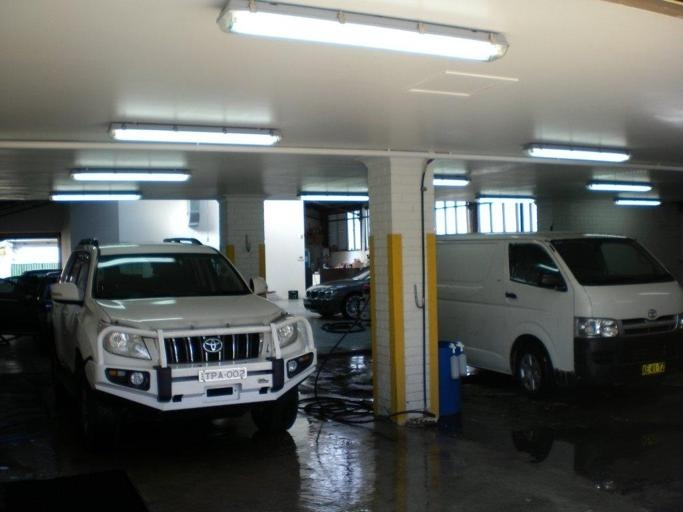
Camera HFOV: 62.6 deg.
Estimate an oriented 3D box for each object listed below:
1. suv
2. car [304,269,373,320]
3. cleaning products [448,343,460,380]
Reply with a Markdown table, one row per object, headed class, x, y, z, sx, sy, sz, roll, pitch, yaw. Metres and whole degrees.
| class | x | y | z | sx | sy | sz | roll | pitch | yaw |
| --- | --- | --- | --- | --- | --- | --- | --- | --- | --- |
| suv | -2.114 | 0.793 | 6.877 | 1.790 | 1.607 | 3.511 | 1 | -3 | -25 |
| car | 0.091 | 1.153 | 15.684 | 2.159 | 0.761 | 0.908 | 3 | -4 | -22 |
| cleaning products | 1.485 | 1.408 | 7.419 | 0.128 | 0.456 | 0.172 | 0 | 2 | 7 |
